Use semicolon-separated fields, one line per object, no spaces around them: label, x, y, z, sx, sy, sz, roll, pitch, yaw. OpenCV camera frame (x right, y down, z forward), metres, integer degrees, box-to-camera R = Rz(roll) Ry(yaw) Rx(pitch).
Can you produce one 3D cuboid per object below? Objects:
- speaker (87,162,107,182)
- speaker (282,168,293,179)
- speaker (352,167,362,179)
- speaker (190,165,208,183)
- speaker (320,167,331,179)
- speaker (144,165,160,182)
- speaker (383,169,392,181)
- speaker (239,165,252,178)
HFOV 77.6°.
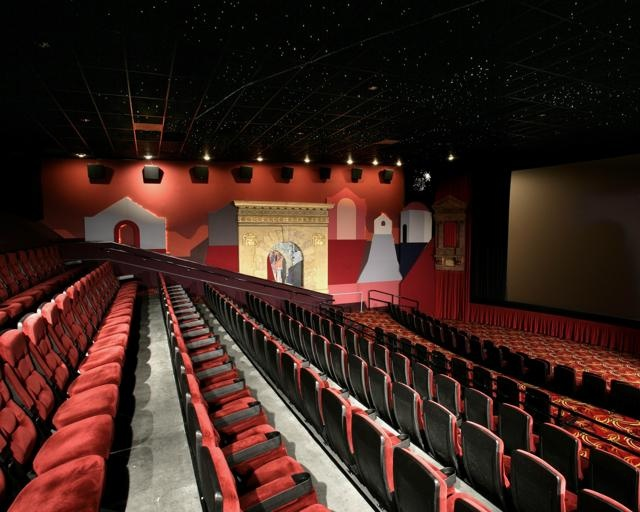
speaker;-4.175;-1.569;7.392;0.358;0.357;0.191;0;10;-15
speaker;-0.725;-1.825;8.781;0.345;0.323;0.173;1;9;-2
speaker;0.857;-1.918;9.358;0.200;0.277;0.287;-1;6;-13
speaker;-2.498;-1.699;8.124;0.364;0.349;0.184;0;1;-26
speaker;0.107;-1.908;9.079;0.256;0.241;0.132;-1;4;-37
speaker;-3.313;-1.634;7.779;0.166;0.301;0.323;5;-2;18
speaker;1.635;-1.986;9.633;0.260;0.248;0.137;-1;3;-24
speaker;-1.572;-1.776;8.472;0.273;0.260;0.228;1;4;-14
